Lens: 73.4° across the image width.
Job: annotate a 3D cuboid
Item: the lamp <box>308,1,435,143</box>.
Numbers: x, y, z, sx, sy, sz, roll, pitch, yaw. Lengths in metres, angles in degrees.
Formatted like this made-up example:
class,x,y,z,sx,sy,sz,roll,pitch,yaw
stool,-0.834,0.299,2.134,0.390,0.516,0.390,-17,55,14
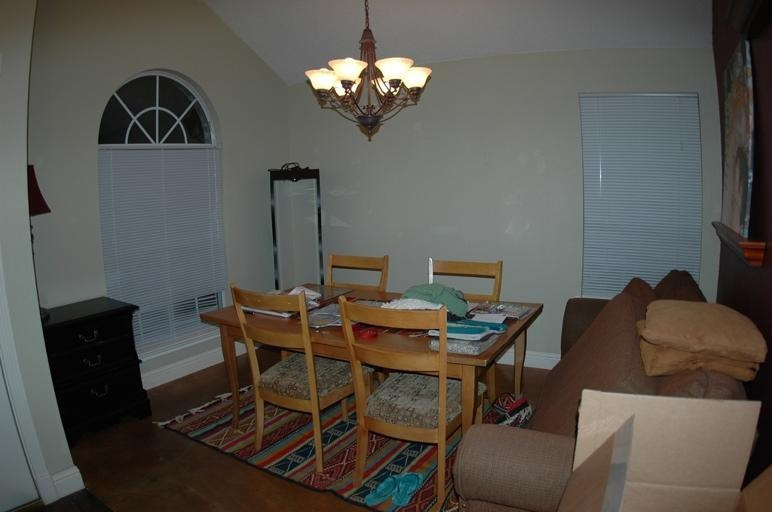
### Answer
class,x,y,z,sx,sy,sz,roll,pitch,yaw
lamp,-0.197,-1.443,3.828,0.766,1.187,1.419,-3,7,-7

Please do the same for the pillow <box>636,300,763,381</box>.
class,x,y,z,sx,sy,sz,roll,pitch,yaw
pillow,1.431,0.375,2.382,0.427,0.200,0.426,1,7,16

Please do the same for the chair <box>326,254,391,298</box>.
class,x,y,z,sx,sy,sz,roll,pitch,yaw
chair,-0.251,0.121,4.513,0.404,0.672,0.423,3,5,20

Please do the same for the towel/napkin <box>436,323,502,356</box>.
class,x,y,z,sx,sy,sz,roll,pitch,yaw
towel/napkin,0.464,0.495,3.118,0.238,0.055,0.235,2,8,29

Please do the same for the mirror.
class,x,y,z,sx,sy,sz,roll,pitch,yaw
mirror,-0.921,-0.301,5.208,0.571,1.266,0.514,-2,8,1
